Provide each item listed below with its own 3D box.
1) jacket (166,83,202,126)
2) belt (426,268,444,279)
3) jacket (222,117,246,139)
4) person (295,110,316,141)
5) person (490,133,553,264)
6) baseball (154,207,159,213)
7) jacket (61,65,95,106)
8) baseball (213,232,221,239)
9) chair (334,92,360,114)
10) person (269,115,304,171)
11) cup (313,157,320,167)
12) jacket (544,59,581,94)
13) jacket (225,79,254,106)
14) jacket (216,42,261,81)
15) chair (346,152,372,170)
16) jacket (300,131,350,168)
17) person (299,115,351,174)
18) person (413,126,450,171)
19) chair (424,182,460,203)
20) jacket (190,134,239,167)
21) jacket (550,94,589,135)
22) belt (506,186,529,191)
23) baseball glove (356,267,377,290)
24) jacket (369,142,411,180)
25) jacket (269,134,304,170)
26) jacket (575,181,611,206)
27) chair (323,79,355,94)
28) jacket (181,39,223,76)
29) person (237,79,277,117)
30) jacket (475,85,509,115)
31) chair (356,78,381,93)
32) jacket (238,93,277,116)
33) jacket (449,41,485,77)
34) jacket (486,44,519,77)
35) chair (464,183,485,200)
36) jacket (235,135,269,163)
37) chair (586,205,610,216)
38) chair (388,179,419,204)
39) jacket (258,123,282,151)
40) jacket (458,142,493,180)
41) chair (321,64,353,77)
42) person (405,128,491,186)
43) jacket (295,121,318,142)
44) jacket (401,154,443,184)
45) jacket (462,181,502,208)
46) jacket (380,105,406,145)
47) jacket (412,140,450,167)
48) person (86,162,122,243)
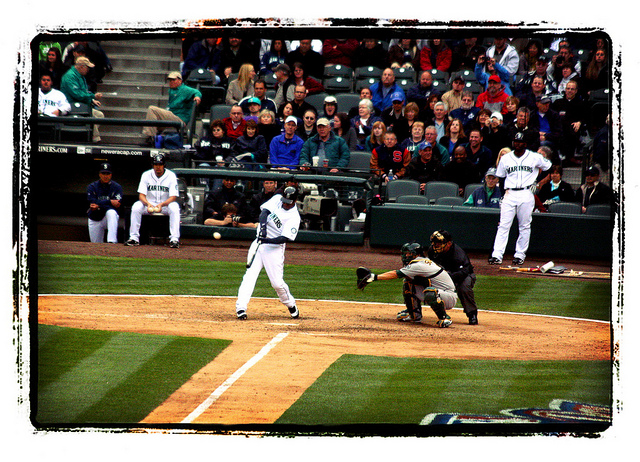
[{"bbox_3d":[-3.179,-2.958,26.783,1.264,0.642,0.343,14,11,32],"label":"jacket"},{"bbox_3d":[2.043,0.746,20.225,0.193,0.170,0.044,24,7,15],"label":"belt"},{"bbox_3d":[-1.932,-2.346,26.137,0.770,0.626,0.396,-1,10,-2],"label":"jacket"},{"bbox_3d":[-0.237,-2.413,26.032,0.779,0.654,0.407,4,5,5],"label":"person"},{"bbox_3d":[4.122,-0.660,23.863,0.949,2.752,0.405,5,7,7],"label":"person"},{"bbox_3d":[-3.528,-0.471,24.734,0.089,0.102,0.085,4,6,2],"label":"baseball"},{"bbox_3d":[-5.825,-3.507,27.249,0.966,1.028,0.781,0,25,-3],"label":"jacket"},{"bbox_3d":[-2.280,0.090,25.500,0.162,0.120,0.128,13,0,2],"label":"baseball"},{"bbox_3d":[0.650,-3.089,27.420,0.606,0.600,0.532,0,-1,-4],"label":"chair"},{"bbox_3d":[-0.746,-2.040,25.677,0.764,1.047,0.553,4,6,-3],"label":"person"},{"bbox_3d":[-0.104,-1.550,25.383,0.192,0.286,0.178,0,1,0],"label":"cup"},{"bbox_3d":[5.767,-3.695,27.740,0.867,1.032,0.434,-2,-26,16],"label":"jacket"},{"bbox_3d":[-1.855,-3.302,27.203,0.808,0.671,0.417,-5,21,-16],"label":"jacket"},{"bbox_3d":[-2.061,-4.155,28.012,1.297,1.138,0.438,2,-4,-2],"label":"jacket"},{"bbox_3d":[0.870,-1.616,25.967,0.453,0.504,0.440,3,19,3],"label":"chair"},{"bbox_3d":[0.106,-1.838,25.776,1.212,0.850,0.623,5,23,13],"label":"jacket"},{"bbox_3d":[0.068,-1.859,25.570,1.127,1.375,1.093,3,0,-3],"label":"person"},{"bbox_3d":[2.530,-1.838,25.375,0.720,0.951,0.691,2,6,-18],"label":"person"},{"bbox_3d":[2.718,-0.858,25.425,0.516,0.607,0.545,1,3,3],"label":"chair"},{"bbox_3d":[-2.401,-1.842,25.945,1.164,0.723,0.596,4,6,5],"label":"jacket"},{"bbox_3d":[5.750,-2.685,26.374,0.773,0.864,0.568,2,6,-18],"label":"jacket"},{"bbox_3d":[4.142,-0.894,23.701,0.331,0.109,0.033,4,6,7],"label":"belt"},{"bbox_3d":[0.798,0.841,20.245,0.325,0.413,0.506,3,6,-7],"label":"baseball glove"},{"bbox_3d":[1.561,-1.567,25.605,1.006,0.826,0.661,2,48,12],"label":"jacket"},{"bbox_3d":[-0.804,-1.811,25.794,0.751,0.681,0.990,10,19,17],"label":"jacket"},{"bbox_3d":[5.886,-0.802,24.710,0.804,0.559,0.447,1,-3,39],"label":"jacket"},{"bbox_3d":[0.449,-3.584,28.561,0.617,0.542,0.546,0,-2,4],"label":"chair"},{"bbox_3d":[-2.749,-4.198,28.482,1.139,1.168,0.699,3,11,-5],"label":"jacket"},{"bbox_3d":[-1.478,-2.998,26.472,1.239,0.946,0.621,4,12,-3],"label":"person"},{"bbox_3d":[4.016,-3.072,26.730,0.769,0.686,0.439,2,40,4],"label":"jacket"},{"bbox_3d":[1.156,-3.642,28.212,0.444,0.477,0.428,0,0,2],"label":"chair"},{"bbox_3d":[-1.382,-2.994,26.611,0.490,0.363,0.763,2,5,25],"label":"jacket"},{"bbox_3d":[3.653,-4.416,28.703,0.999,0.888,0.339,16,-8,1],"label":"jacket"},{"bbox_3d":[4.487,-4.130,28.165,0.512,0.790,0.934,4,4,-37],"label":"jacket"},{"bbox_3d":[3.368,-0.914,25.093,0.322,0.399,0.354,1,2,7],"label":"chair"},{"bbox_3d":[-1.490,-1.873,26.041,0.963,0.878,0.580,-1,-9,-5],"label":"jacket"},{"bbox_3d":[5.909,-0.458,24.415,0.470,0.204,0.181,4,6,6],"label":"chair"},{"bbox_3d":[1.805,-0.899,25.539,0.582,0.675,0.606,1,2,2],"label":"chair"},{"bbox_3d":[-1.164,-2.198,26.089,0.648,0.522,0.147,-2,5,-24],"label":"jacket"},{"bbox_3d":[3.570,-1.517,25.193,0.328,0.696,0.299,0,8,-34],"label":"jacket"},{"bbox_3d":[0.462,-4.095,29.162,0.719,0.353,0.333,4,6,0],"label":"chair"},{"bbox_3d":[2.867,-1.628,25.309,1.515,0.853,0.511,0,-3,6],"label":"person"},{"bbox_3d":[-0.384,-2.273,26.067,0.517,0.434,0.149,0,-3,20],"label":"jacket"},{"bbox_3d":[2.300,-1.410,25.492,0.709,0.517,0.240,4,9,5],"label":"jacket"},{"bbox_3d":[3.522,-0.784,24.822,0.582,0.424,0.218,23,1,7],"label":"jacket"},{"bbox_3d":[1.692,-2.424,26.270,0.676,0.828,0.350,5,-22,5],"label":"jacket"},{"bbox_3d":[2.466,-1.734,25.344,0.561,0.389,0.276,16,11,13],"label":"jacket"},{"bbox_3d":[-4.789,-0.615,25.356,0.707,1.769,0.666,3,6,-11],"label":"person"}]
